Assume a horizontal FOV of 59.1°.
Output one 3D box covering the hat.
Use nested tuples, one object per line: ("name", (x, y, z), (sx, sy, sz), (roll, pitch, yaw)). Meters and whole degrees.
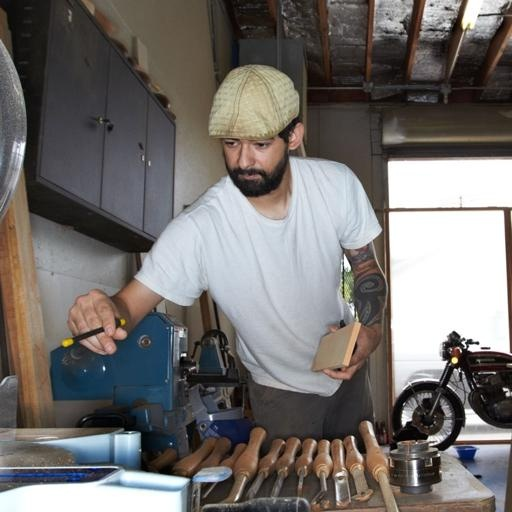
("hat", (-0.007, -0.454, 1.285), (0.234, 0.160, 0.347), (5, 29, 23))
